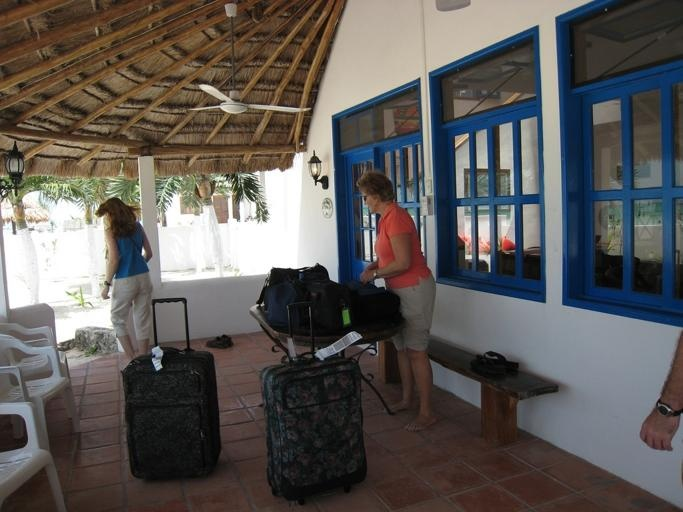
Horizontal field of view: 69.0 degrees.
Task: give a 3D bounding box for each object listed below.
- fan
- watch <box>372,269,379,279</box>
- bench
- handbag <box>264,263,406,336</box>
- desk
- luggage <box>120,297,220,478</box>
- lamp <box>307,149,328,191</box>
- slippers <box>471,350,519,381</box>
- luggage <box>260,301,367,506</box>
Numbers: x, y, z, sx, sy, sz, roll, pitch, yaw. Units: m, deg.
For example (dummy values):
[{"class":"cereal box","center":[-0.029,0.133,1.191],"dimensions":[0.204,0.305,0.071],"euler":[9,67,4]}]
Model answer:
[{"class":"fan","center":[-1.036,-2.040,5.746],"dimensions":[1.251,1.179,1.215],"euler":[-3,14,-19]},{"class":"watch","center":[0.281,0.157,4.053],"dimensions":[0.042,0.071,0.061],"euler":[2,8,2]},{"class":"bench","center":[0.968,1.125,4.413],"dimensions":[0.338,0.532,2.043],"euler":[-2,5,-26]},{"class":"handbag","center":[-0.251,0.347,3.944],"dimensions":[0.557,0.309,0.760],"euler":[-3,6,-34]},{"class":"desk","center":[-0.133,0.579,3.725],"dimensions":[1.025,0.741,1.196],"euler":[-1,3,-11]},{"class":"luggage","center":[-1.211,0.932,3.592],"dimensions":[0.596,1.166,0.603],"euler":[2,3,-2]},{"class":"lamp","center":[-0.317,-1.194,6.950],"dimensions":[0.252,0.551,0.255],"euler":[-2,-1,38]},{"class":"slippers","center":[1.203,0.863,3.900],"dimensions":[0.246,0.097,0.191],"euler":[1,4,-1]},{"class":"luggage","center":[-0.161,1.081,3.225],"dimensions":[0.625,1.013,0.281],"euler":[-4,7,-19]}]
